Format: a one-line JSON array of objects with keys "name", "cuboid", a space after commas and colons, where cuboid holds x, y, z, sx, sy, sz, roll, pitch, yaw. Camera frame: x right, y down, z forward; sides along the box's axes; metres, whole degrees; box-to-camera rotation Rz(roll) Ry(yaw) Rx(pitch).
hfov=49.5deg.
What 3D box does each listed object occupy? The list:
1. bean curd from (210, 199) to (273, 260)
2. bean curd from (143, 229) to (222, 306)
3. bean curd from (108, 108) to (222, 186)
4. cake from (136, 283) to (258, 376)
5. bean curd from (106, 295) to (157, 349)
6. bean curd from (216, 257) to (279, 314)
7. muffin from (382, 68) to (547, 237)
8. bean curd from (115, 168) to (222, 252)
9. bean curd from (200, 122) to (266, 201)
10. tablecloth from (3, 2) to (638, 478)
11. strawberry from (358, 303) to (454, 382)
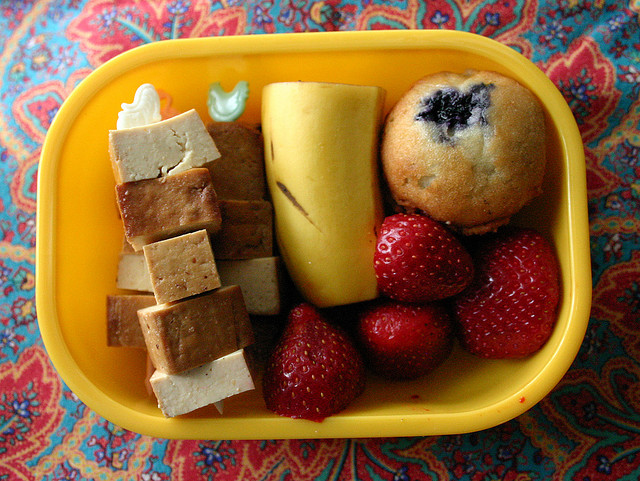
[{"name": "bean curd", "cuboid": [-0.176, -0.033, 1.738, 0.153, 0.127, 0.197, -4, 18, -4]}, {"name": "bean curd", "cuboid": [-0.310, 0.060, 1.551, 0.143, 0.131, 0.045, -14, -9, -1]}, {"name": "bean curd", "cuboid": [-0.350, -0.202, 1.559, 0.229, 0.121, 0.165, -20, -2, -15]}, {"name": "cake", "cuboid": [-0.291, 0.190, 1.624, 0.241, 0.166, 0.121, -19, 16, -42]}, {"name": "bean curd", "cuboid": [-0.469, 0.186, 1.662, 0.129, 0.126, 0.032, 2, 2, 5]}, {"name": "bean curd", "cuboid": [-0.159, 0.099, 1.669, 0.201, 0.117, 0.157, -5, 24, 3]}, {"name": "muffin", "cuboid": [0.315, -0.257, 1.696, 0.409, 0.343, 0.275, -7, 26, -10]}, {"name": "bean curd", "cuboid": [-0.350, -0.096, 1.568, 0.286, 0.164, 0.152, -14, 24, -25]}, {"name": "bean curd", "cuboid": [-0.195, -0.184, 1.661, 0.141, 0.166, 0.181, -4, 21, -7]}, {"name": "tablecloth", "cuboid": [-0.024, 0.034, 1.651, 1.548, 1.126, 0.275, 0, 8, 2]}, {"name": "strawberry", "cuboid": [0.198, 0.244, 1.651, 0.211, 0.165, 0.157, 1, -6, -23]}]
